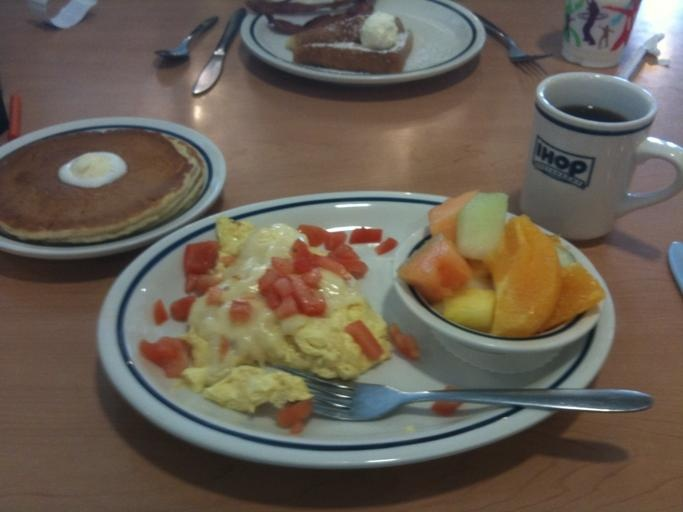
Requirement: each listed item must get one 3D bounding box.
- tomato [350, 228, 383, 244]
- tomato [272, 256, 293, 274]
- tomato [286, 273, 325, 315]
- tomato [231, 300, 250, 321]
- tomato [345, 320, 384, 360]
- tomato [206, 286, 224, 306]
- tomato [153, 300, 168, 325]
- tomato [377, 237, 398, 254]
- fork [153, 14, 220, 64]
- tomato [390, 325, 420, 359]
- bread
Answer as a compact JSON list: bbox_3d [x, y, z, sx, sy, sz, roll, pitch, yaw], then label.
[{"bbox_3d":[0.068,-0.051,1.757,0.068,0.025,0.040,-7,44,-4],"label":"tomato"},{"bbox_3d":[-0.139,0.022,1.577,0.042,0.013,0.044,6,41,-15],"label":"tomato"},{"bbox_3d":[-0.093,0.092,1.551,0.104,0.029,0.063,36,51,10],"label":"tomato"},{"bbox_3d":[-0.225,0.127,1.511,0.041,0.033,0.042,1,65,10],"label":"tomato"},{"bbox_3d":[0.055,0.196,1.515,0.052,0.028,0.102,-27,79,-22],"label":"tomato"},{"bbox_3d":[-0.291,0.096,1.542,0.031,0.014,0.043,3,47,-5],"label":"tomato"},{"bbox_3d":[-0.429,0.133,1.563,0.030,0.014,0.054,-11,63,-21],"label":"tomato"},{"bbox_3d":[0.122,-0.025,1.738,0.051,0.020,0.035,-37,48,-9],"label":"tomato"},{"bbox_3d":[-0.584,-0.910,2.637,0.095,0.070,0.407,15,48,20],"label":"fork"},{"bbox_3d":[0.152,0.198,1.551,0.042,0.017,0.079,-19,45,-4],"label":"tomato"},{"bbox_3d":[0.036,-0.765,2.408,0.358,0.121,0.270,0,40,2],"label":"bread"}]
